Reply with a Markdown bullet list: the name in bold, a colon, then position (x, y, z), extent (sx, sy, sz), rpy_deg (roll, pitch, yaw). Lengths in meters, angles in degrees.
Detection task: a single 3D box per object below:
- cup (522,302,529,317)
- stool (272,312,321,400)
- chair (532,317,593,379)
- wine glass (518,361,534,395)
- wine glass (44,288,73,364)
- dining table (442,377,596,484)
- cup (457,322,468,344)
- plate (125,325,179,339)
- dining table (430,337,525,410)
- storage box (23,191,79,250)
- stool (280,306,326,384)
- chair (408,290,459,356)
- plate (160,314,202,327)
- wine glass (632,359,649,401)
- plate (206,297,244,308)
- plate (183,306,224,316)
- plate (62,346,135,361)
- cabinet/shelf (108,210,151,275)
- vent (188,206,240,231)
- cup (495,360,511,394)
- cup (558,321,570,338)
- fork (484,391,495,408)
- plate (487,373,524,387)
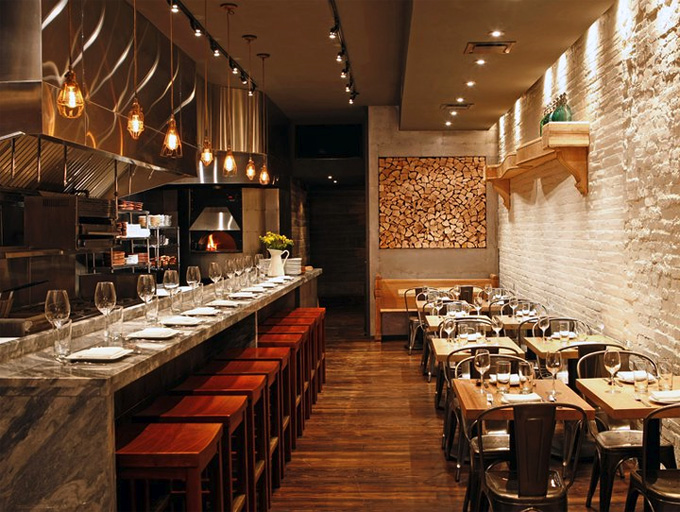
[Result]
- **cup**: position (2.136, 0.599, 6.221), extent (0.061, 0.152, 0.311), rpy_deg (2, 6, 28)
- **stool**: position (-0.423, 0.977, 5.282), extent (0.352, 0.761, 0.870), rpy_deg (0, 3, 8)
- **chair**: position (1.966, 0.815, 4.791), extent (0.504, 0.722, 0.505), rpy_deg (0, -1, 2)
- **wine glass**: position (1.281, 0.817, 3.716), extent (0.113, 0.200, 0.325), rpy_deg (1, 5, 20)
- **wine glass**: position (-1.458, 0.336, 2.826), extent (0.109, 0.330, 0.446), rpy_deg (-4, 6, -28)
- **dining table**: position (1.137, 0.979, 3.845), extent (0.836, 0.558, 0.870), rpy_deg (0, -3, -7)
- **cup**: position (1.153, 0.723, 5.113), extent (0.084, 0.207, 0.288), rpy_deg (0, 5, 11)
- **plate**: position (-1.082, 0.441, 3.146), extent (0.299, 0.033, 0.240), rpy_deg (-1, 5, 1)
- **dining table**: position (1.235, 1.020, 5.123), extent (0.818, 0.774, 0.854), rpy_deg (0, -2, -3)
- **storage box**: position (-2.706, -0.353, 5.342), extent (0.512, 0.548, 0.516), rpy_deg (0, 5, 1)
- **stool**: position (-0.386, 0.929, 5.658), extent (0.338, 0.749, 0.856), rpy_deg (-1, 3, 6)
- **chair**: position (1.269, 0.960, 8.156), extent (0.871, 0.941, 0.912), rpy_deg (0, 0, -1)
- **plate**: position (-0.995, 0.414, 3.465), extent (0.265, 0.037, 0.243), rpy_deg (3, 6, 39)
- **wine glass**: position (1.935, 0.818, 3.503), extent (0.083, 0.168, 0.193), rpy_deg (2, 6, 30)
- **plate**: position (-0.893, 0.371, 4.200), extent (0.270, 0.025, 0.251), rpy_deg (-2, 5, -11)
- **plate**: position (-0.968, 0.391, 3.827), extent (0.262, 0.035, 0.300), rpy_deg (-2, 5, -15)
- **plate**: position (-1.197, 0.488, 2.723), extent (0.307, 0.039, 0.246), rpy_deg (-3, 5, -25)
- **cabinet/shelf**: position (-3.022, -0.199, 7.797), extent (0.314, 0.920, 0.933), rpy_deg (0, 1, -7)
- **vent**: position (-2.116, -0.628, 9.230), extent (0.842, 0.406, 0.180), rpy_deg (1, 5, 20)
- **cup**: position (1.106, 0.807, 3.647), extent (0.120, 0.211, 0.108), rpy_deg (-2, 5, -9)
- **cup**: position (2.066, 0.676, 5.020), extent (0.112, 0.203, 0.115), rpy_deg (-1, -1, 0)
- **fork**: position (0.980, 0.944, 3.566), extent (0.047, 0.096, 0.050), rpy_deg (3, 17, 13)
- **plate**: position (1.138, 0.844, 3.674), extent (0.144, 0.042, 0.151), rpy_deg (-1, 0, 2)
